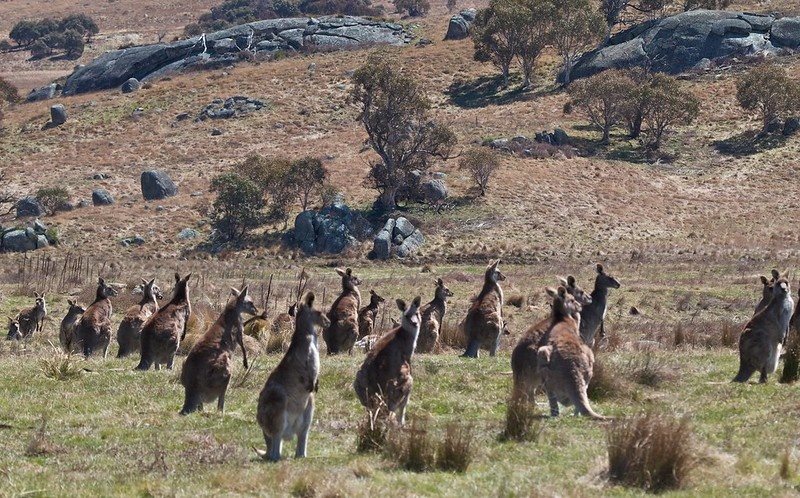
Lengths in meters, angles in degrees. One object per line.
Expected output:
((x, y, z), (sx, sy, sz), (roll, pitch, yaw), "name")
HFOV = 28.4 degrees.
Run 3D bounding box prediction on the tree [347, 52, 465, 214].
((-0.161, -16.208, 228.980), (13.070, 22.903, 4.461), (2, 1, -8), "tree")
